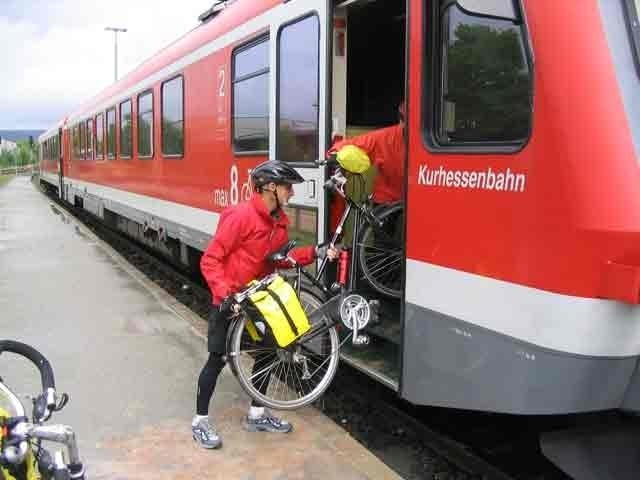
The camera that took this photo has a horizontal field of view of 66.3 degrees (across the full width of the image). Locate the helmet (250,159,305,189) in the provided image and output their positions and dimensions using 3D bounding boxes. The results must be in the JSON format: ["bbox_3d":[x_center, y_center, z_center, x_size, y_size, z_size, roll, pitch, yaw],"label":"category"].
[{"bbox_3d":[-0.323,-0.470,3.454,0.253,0.160,0.208,-4,14,0],"label":"helmet"}]

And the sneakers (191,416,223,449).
[{"bbox_3d":[-0.832,1.379,3.604,0.114,0.171,0.302,-1,5,-34],"label":"sneakers"}]

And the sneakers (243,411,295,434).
[{"bbox_3d":[-0.395,1.357,3.753,0.354,0.201,0.146,1,2,-6],"label":"sneakers"}]
